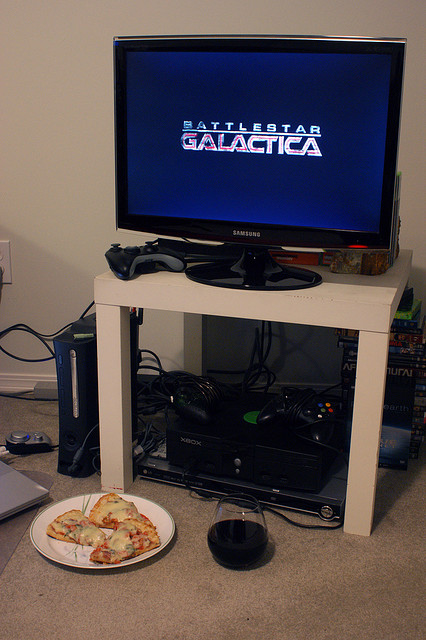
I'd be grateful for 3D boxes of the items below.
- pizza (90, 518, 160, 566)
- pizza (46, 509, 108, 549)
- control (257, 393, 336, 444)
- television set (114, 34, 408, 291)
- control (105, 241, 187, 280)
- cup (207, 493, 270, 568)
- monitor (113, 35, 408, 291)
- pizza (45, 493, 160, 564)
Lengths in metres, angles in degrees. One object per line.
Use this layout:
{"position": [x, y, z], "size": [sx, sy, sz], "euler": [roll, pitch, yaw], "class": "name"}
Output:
{"position": [-0.132, 0.344, 0.848], "size": [0.087, 0.028, 0.105], "euler": [0, 10, 30], "class": "pizza"}
{"position": [-0.212, 0.338, 0.873], "size": [0.093, 0.022, 0.070], "euler": [16, 9, 17], "class": "pizza"}
{"position": [0.162, 0.193, 1.059], "size": [0.146, 0.080, 0.113], "euler": [7, 13, 29], "class": "control"}
{"position": [0.073, -0.280, 0.948], "size": [0.423, 0.354, 0.142], "euler": [7, 24, 12], "class": "television set"}
{"position": [-0.131, -0.115, 1.038], "size": [0.157, 0.075, 0.137], "euler": [14, 23, 37], "class": "control"}
{"position": [0.036, 0.316, 0.861], "size": [0.093, 0.098, 0.099], "euler": [0, 2, 0], "class": "cup"}
{"position": [0.052, -0.307, 0.948], "size": [0.507, 0.353, 0.060], "euler": [5, 11, 17], "class": "monitor"}
{"position": [-0.164, 0.315, 0.861], "size": [0.093, 0.014, 0.090], "euler": [12, 15, 32], "class": "pizza"}
